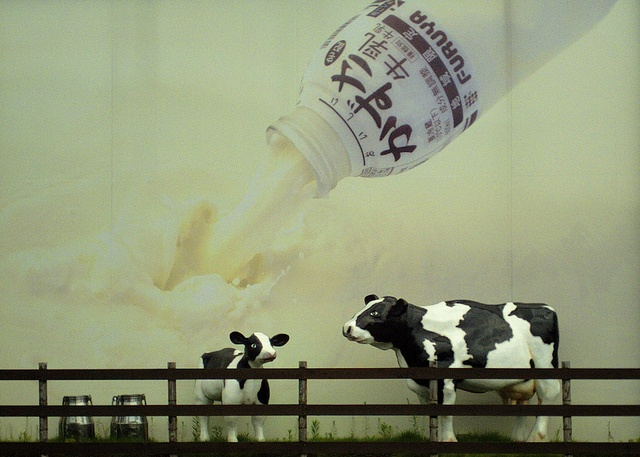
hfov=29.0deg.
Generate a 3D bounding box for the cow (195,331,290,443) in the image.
[{"bbox_3d":[-1.206,2.274,17.491,1.380,1.601,0.791,-12,-19,30],"label":"cow"}]
